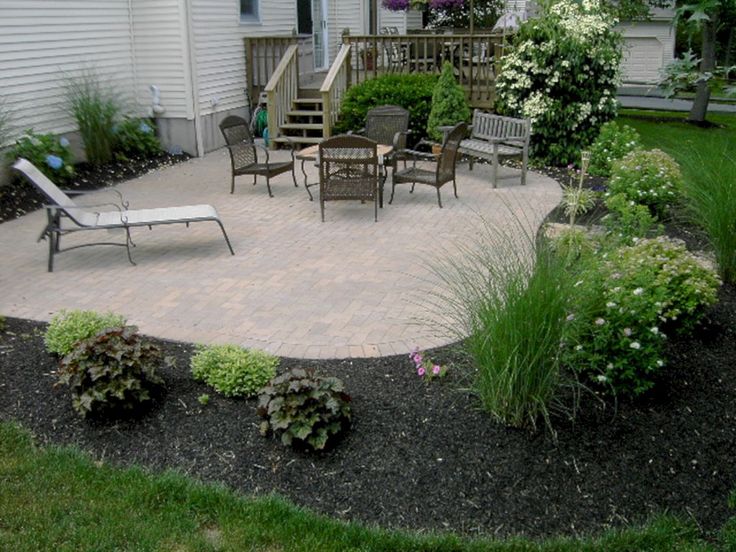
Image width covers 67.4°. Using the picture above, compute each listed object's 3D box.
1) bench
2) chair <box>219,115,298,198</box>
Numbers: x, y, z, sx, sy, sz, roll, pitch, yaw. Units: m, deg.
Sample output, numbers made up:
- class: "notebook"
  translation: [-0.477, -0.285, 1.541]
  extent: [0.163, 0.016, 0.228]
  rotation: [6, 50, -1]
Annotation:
- class: "bench"
  translation: [2.484, -2.496, 10.923]
  extent: [0.811, 1.122, 1.852]
  rotation: [-8, 24, -12]
- class: "chair"
  translation: [-1.901, -2.171, 9.829]
  extent: [1.139, 1.286, 1.060]
  rotation: [14, 27, 34]
